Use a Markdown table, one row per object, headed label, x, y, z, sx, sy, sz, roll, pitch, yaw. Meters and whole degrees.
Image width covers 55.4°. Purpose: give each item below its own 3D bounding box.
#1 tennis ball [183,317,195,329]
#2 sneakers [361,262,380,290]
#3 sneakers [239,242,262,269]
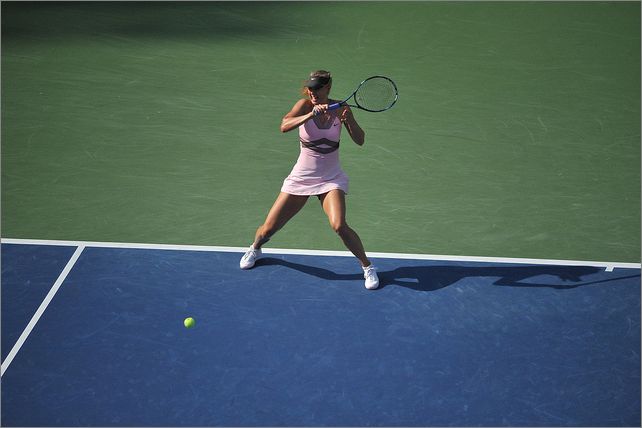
| label | x | y | z | sx | sy | sz | roll | pitch | yaw |
| --- | --- | --- | --- | --- | --- | --- | --- | --- | --- |
| tennis ball | -1.610 | 1.330 | 7.471 | 0.131 | 0.104 | 0.132 | 7 | 19 | -2 |
| sneakers | 0.655 | 0.823 | 7.912 | 0.153 | 0.147 | 0.367 | -7 | 31 | 5 |
| sneakers | -0.946 | 0.607 | 8.137 | 0.180 | 0.188 | 0.412 | 32 | 54 | 12 |
